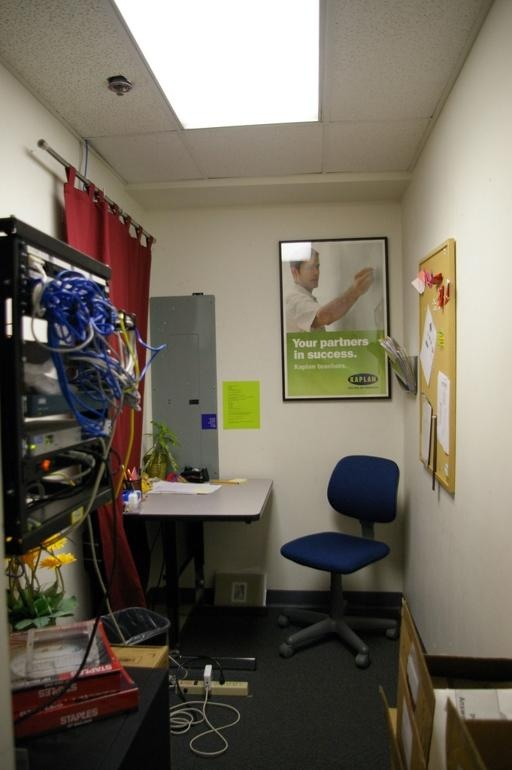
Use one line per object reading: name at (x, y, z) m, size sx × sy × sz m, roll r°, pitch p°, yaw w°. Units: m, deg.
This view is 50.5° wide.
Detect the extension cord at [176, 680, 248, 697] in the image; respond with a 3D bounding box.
extension cord at (-0.172, 1.206, 2.163) m, size 0.280 × 0.045 × 0.080 m, roll -1°, pitch 0°, yaw -1°

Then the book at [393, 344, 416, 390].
book at (0.714, -0.084, 2.603) m, size 0.056 × 0.196 × 0.131 m, roll -5°, pitch 15°, yaw -1°

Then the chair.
chair at (0.396, 0.834, 2.653) m, size 0.585 × 0.920 × 0.516 m, roll 0°, pitch 5°, yaw -39°

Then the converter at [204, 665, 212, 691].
converter at (-0.192, 1.167, 2.152) m, size 0.021 × 0.079 × 0.076 m, roll 0°, pitch 1°, yaw 3°

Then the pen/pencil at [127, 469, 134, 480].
pen/pencil at (-0.577, 0.415, 2.485) m, size 0.018 × 0.078 × 0.021 m, roll -1°, pitch -8°, yaw 10°

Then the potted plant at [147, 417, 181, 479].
potted plant at (-0.537, 0.387, 3.003) m, size 0.176 × 0.324 × 0.151 m, roll 9°, pitch -12°, yaw -10°

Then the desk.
desk at (-0.241, 0.602, 2.525) m, size 0.480 × 0.596 × 1.079 m, roll 0°, pitch 0°, yaw 3°
